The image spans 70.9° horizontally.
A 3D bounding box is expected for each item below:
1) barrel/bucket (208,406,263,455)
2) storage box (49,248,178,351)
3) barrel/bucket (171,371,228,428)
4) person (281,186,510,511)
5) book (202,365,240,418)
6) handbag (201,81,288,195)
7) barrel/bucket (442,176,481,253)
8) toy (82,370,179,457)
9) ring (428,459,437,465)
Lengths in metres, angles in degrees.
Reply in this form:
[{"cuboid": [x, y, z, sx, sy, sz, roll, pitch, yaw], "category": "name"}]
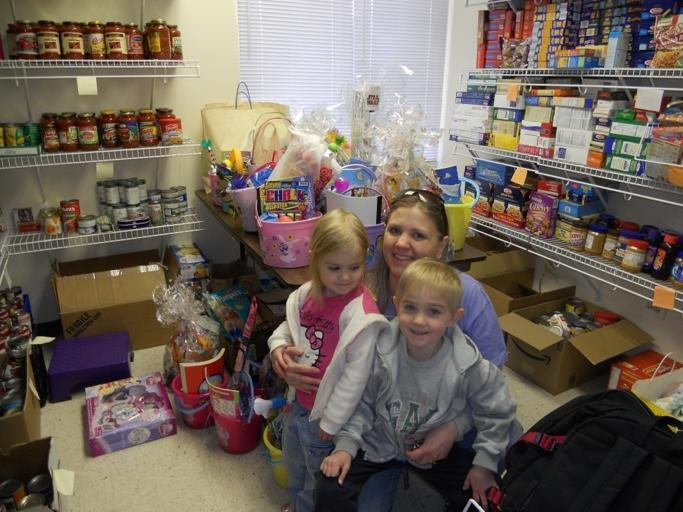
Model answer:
[{"cuboid": [-0.518, 0.857, 2.468, 0.269, 0.218, 0.289, 1, 11, 0], "category": "barrel/bucket"}, {"cuboid": [-1.582, 0.230, 3.235, 0.672, 0.493, 0.639, -10, 19, -24], "category": "storage box"}, {"cuboid": [-0.765, 0.783, 2.594, 0.252, 0.200, 0.250, 5, 14, -1], "category": "barrel/bucket"}, {"cuboid": [0.049, 0.251, 2.389, 1.154, 1.512, 0.998, 5, 7, 35], "category": "person"}, {"cuboid": [-0.575, 0.668, 2.349, 0.177, 0.196, 0.178, -6, 23, -18], "category": "book"}, {"cuboid": [-0.671, -0.806, 3.459, 0.639, 0.851, 0.355, -10, 26, -22], "category": "handbag"}, {"cuboid": [0.615, -0.240, 2.478, 0.212, 0.327, 0.233, 3, 13, -1], "category": "barrel/bucket"}, {"cuboid": [-1.106, 0.815, 2.534, 0.405, 0.214, 0.313, -11, 22, -21], "category": "toy"}, {"cuboid": [0.339, 0.742, 1.739, 0.033, 0.011, 0.032, -1, 13, 0], "category": "ring"}]
